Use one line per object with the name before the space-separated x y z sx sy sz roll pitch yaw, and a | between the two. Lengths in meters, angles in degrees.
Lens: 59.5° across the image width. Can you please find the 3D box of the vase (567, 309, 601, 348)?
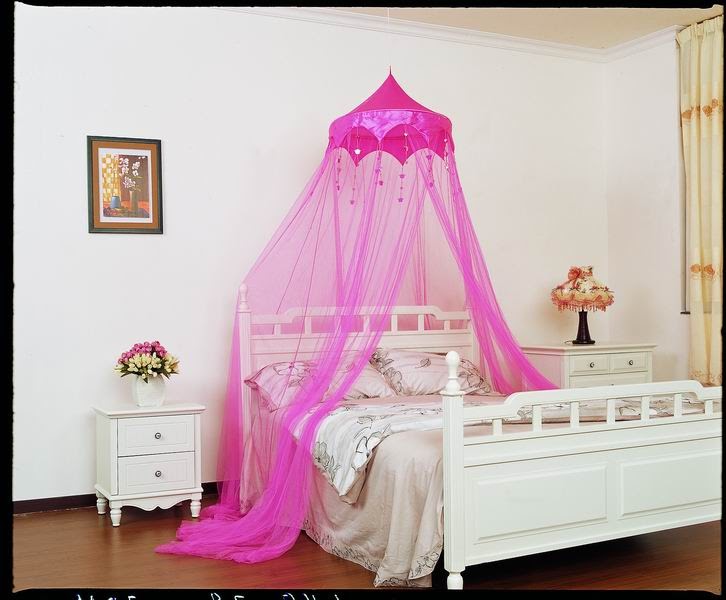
vase | 1.772 0.233 4.902 0.237 0.368 0.248 0 1 26

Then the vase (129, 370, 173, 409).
vase | -1.315 0.550 3.977 0.204 0.221 0.195 -1 3 -20

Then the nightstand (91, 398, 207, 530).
nightstand | -1.267 0.889 4.035 0.806 0.907 0.584 1 -4 -25

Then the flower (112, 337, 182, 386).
flower | -1.368 0.401 3.993 0.315 0.255 0.325 -12 -6 32

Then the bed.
bed | 0.580 0.775 3.753 1.563 1.402 2.171 0 -3 -25
